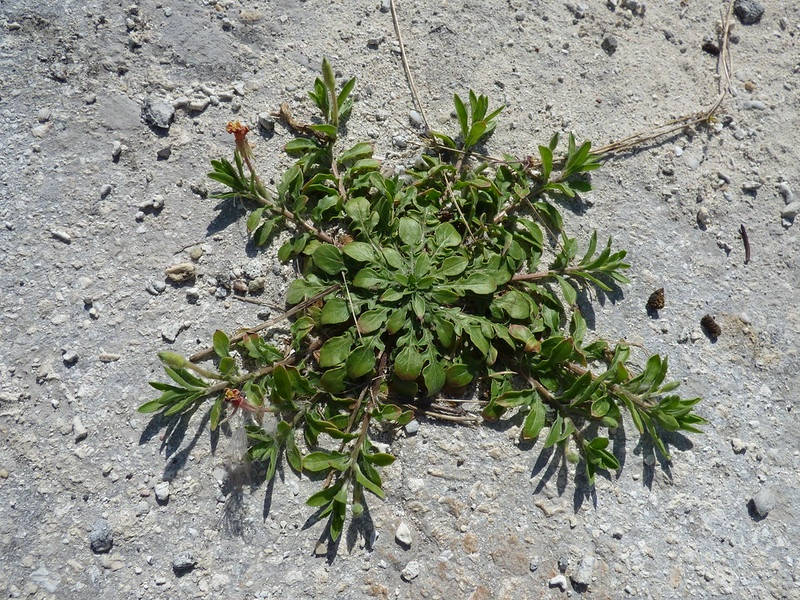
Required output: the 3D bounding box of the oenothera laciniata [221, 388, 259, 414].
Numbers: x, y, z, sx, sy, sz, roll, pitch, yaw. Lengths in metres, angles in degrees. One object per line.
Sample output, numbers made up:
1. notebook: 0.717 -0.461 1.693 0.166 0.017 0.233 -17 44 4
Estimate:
1. oenothera laciniata: -0.837 0.527 4.344 0.182 0.104 0.100 35 70 -20
